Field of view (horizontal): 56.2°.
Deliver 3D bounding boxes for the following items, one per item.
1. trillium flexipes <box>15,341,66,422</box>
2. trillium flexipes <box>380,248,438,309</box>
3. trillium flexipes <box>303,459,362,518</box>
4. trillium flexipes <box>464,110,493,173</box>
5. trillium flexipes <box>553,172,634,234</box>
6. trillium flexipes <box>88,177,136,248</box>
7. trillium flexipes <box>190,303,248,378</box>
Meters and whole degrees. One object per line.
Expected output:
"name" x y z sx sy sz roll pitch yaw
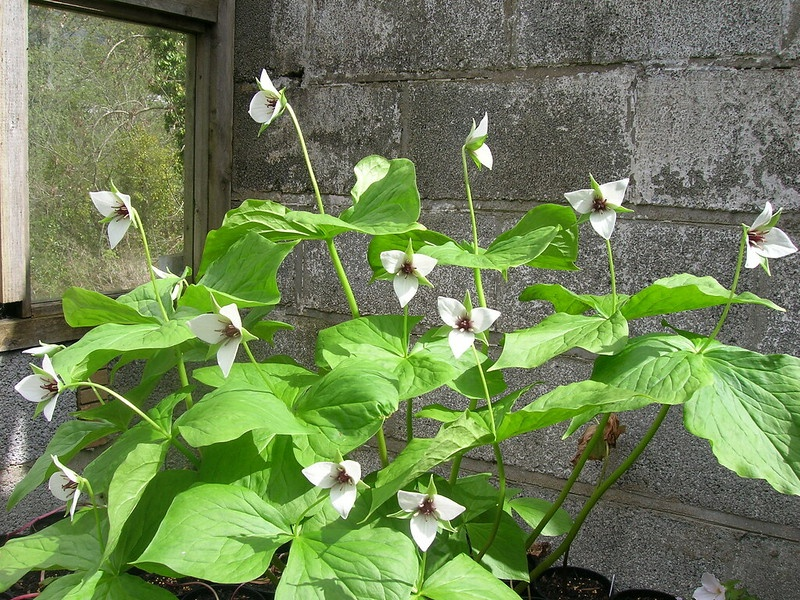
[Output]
"trillium flexipes" -0.916 0.198 1.986 0.200 0.220 0.068 -3 7 29
"trillium flexipes" 0.029 -0.064 1.907 0.122 0.150 0.103 -5 18 -41
"trillium flexipes" -0.155 0.447 1.848 0.130 0.145 0.125 11 14 13
"trillium flexipes" 0.224 -0.443 2.101 0.047 0.127 0.145 2 -21 -2
"trillium flexipes" 0.542 -0.259 2.057 0.148 0.194 0.062 -10 8 9
"trillium flexipes" -0.740 -0.248 2.004 0.121 0.134 0.058 -25 50 -8
"trillium flexipes" -0.427 0.078 1.845 0.162 0.169 0.075 7 15 24
